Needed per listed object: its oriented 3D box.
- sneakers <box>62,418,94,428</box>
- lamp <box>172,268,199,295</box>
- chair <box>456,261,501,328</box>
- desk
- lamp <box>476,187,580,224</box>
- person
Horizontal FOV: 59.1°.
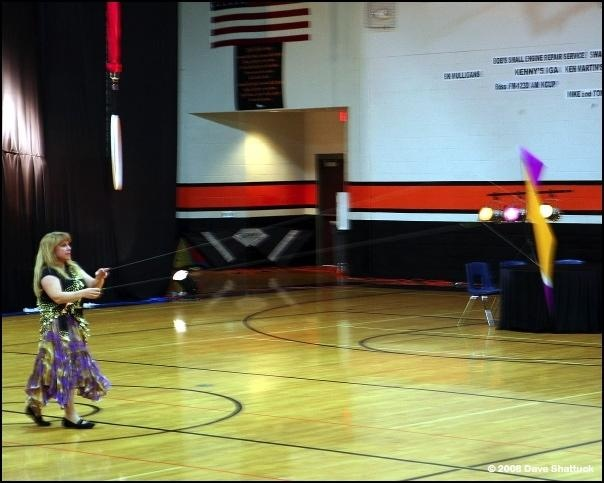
[{"bbox_3d":[-1.436,1.167,3.415,0.171,0.047,0.082,1,-2,0],"label":"sneakers"},{"bbox_3d":[-2.323,0.805,10.616,0.462,0.499,0.489,-3,6,-29],"label":"lamp"},{"bbox_3d":[2.651,0.755,7.632,0.711,0.787,0.574,-6,7,-37],"label":"chair"},{"bbox_3d":[3.278,0.768,6.913,1.123,0.576,1.040,0,-1,12],"label":"desk"},{"bbox_3d":[3.664,-0.566,9.002,1.580,0.610,2.016,2,5,25],"label":"lamp"},{"bbox_3d":[-1.475,0.581,3.386,0.615,1.265,0.353,2,6,31],"label":"person"}]
